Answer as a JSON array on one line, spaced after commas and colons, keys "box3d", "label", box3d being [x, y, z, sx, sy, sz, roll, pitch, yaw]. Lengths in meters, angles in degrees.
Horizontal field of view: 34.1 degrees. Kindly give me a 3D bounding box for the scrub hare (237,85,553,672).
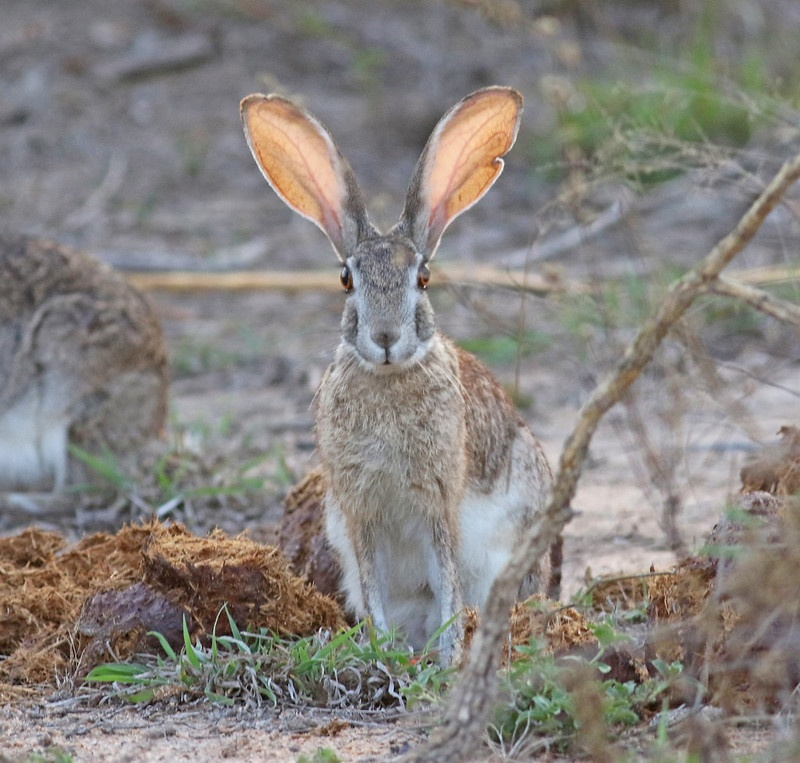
[{"box3d": [0.110, -0.027, 4.981, 0.898, 1.931, 1.432, -13, 35, -23], "label": "scrub hare"}]
